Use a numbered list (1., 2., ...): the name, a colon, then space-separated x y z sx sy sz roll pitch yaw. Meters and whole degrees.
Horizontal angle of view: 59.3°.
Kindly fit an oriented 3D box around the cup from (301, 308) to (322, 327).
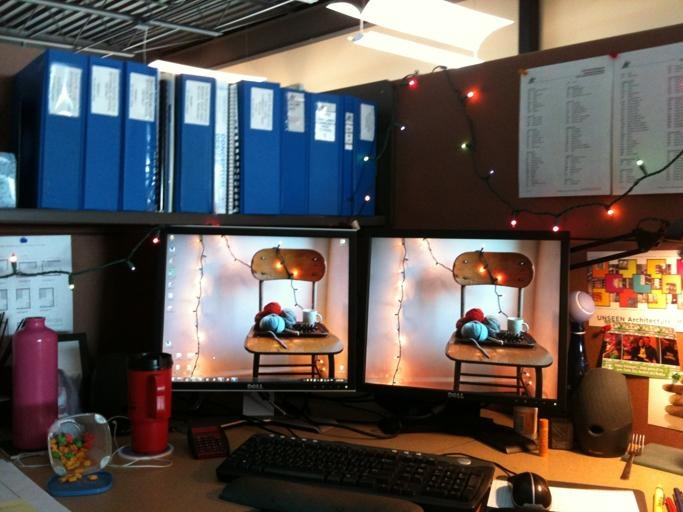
1. cup: -0.084 0.178 1.713 0.061 0.059 0.038 2 0 -2

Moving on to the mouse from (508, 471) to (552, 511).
1. mouse: 0.433 0.533 1.377 0.095 0.058 0.104 3 9 16

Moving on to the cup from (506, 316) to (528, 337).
1. cup: 0.476 0.191 1.629 0.059 0.043 0.037 5 4 41

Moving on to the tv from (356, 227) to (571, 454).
1. tv: 0.346 0.223 1.657 0.564 0.552 0.216 2 -4 10

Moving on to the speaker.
1. speaker: 0.691 0.425 1.589 0.154 0.229 0.125 -9 -29 34

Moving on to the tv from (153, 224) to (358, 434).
1. tv: -0.244 0.191 1.697 0.565 0.554 0.143 1 -11 -6
